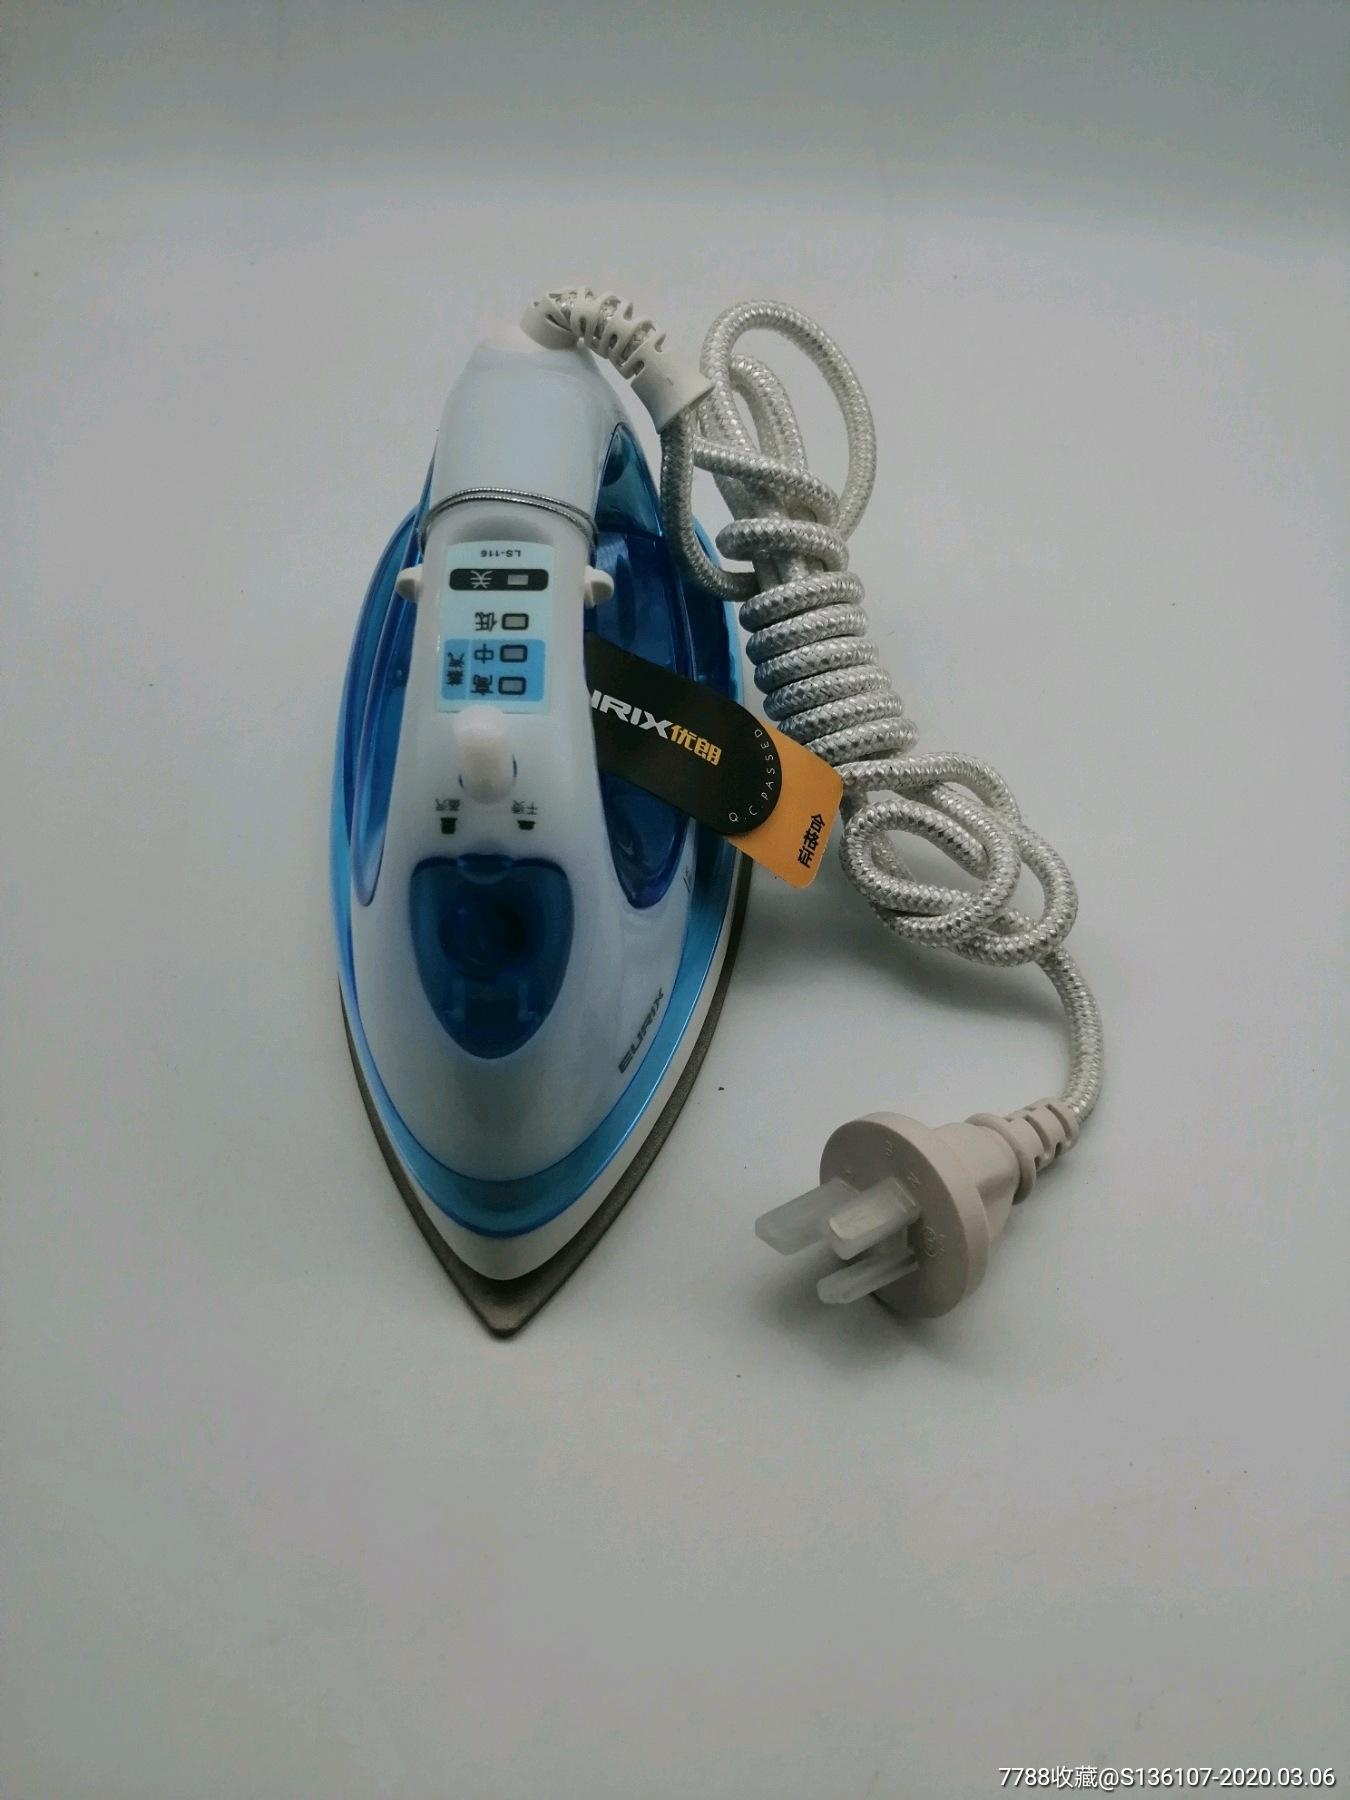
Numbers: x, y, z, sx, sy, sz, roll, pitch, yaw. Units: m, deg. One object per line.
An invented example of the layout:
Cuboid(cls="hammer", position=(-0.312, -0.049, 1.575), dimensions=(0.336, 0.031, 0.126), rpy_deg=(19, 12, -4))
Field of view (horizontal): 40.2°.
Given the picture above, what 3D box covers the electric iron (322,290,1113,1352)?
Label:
Cuboid(cls="electric iron", position=(-0.005, -0.066, 0.774), dimensions=(0.355, 0.182, 0.467), rpy_deg=(-7, 70, -11))
